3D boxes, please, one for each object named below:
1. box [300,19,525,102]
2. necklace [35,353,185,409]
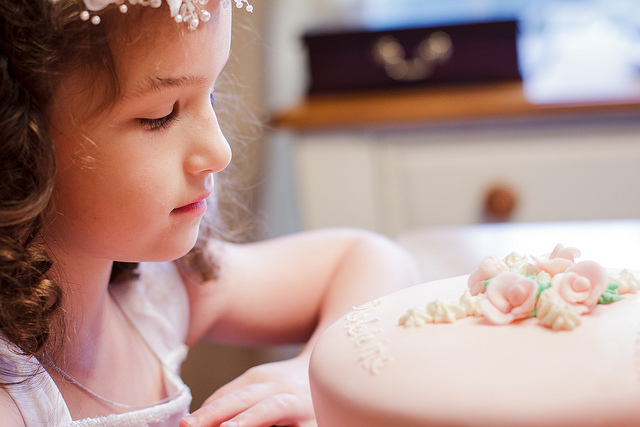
[{"bbox_3d":[0.236,-0.418,1.743,0.583,0.208,0.138,-2,13,18],"label":"box"},{"bbox_3d":[-0.342,0.291,1.056,0.153,0.009,0.115,29,19,6],"label":"necklace"}]
